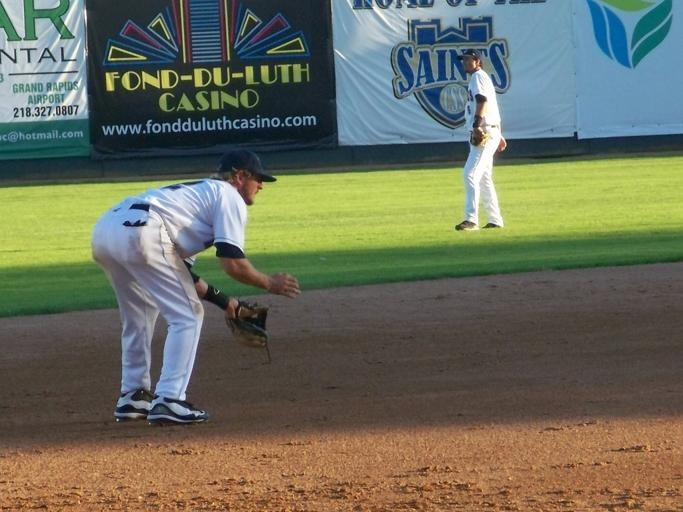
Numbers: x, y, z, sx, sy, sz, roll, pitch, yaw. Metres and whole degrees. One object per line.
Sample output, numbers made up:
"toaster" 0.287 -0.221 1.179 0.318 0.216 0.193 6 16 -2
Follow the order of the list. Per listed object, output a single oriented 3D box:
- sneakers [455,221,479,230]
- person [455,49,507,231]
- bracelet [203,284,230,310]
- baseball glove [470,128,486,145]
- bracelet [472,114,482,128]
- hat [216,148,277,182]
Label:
"sneakers" 2.048 -0.496 28.018 0.349 0.166 0.157 4 -2 -23
"person" 2.234 -1.885 28.024 0.589 2.944 0.878 -1 6 26
"bracelet" -1.620 0.526 22.430 0.368 0.241 0.156 33 -1 -9
"baseball glove" 2.204 -1.935 27.763 0.234 0.240 0.274 3 11 22
"bracelet" 2.201 -2.193 27.802 0.166 0.187 0.173 -1 -6 13
"hat" -1.204 -1.189 22.263 0.619 0.321 0.402 3 5 -15
